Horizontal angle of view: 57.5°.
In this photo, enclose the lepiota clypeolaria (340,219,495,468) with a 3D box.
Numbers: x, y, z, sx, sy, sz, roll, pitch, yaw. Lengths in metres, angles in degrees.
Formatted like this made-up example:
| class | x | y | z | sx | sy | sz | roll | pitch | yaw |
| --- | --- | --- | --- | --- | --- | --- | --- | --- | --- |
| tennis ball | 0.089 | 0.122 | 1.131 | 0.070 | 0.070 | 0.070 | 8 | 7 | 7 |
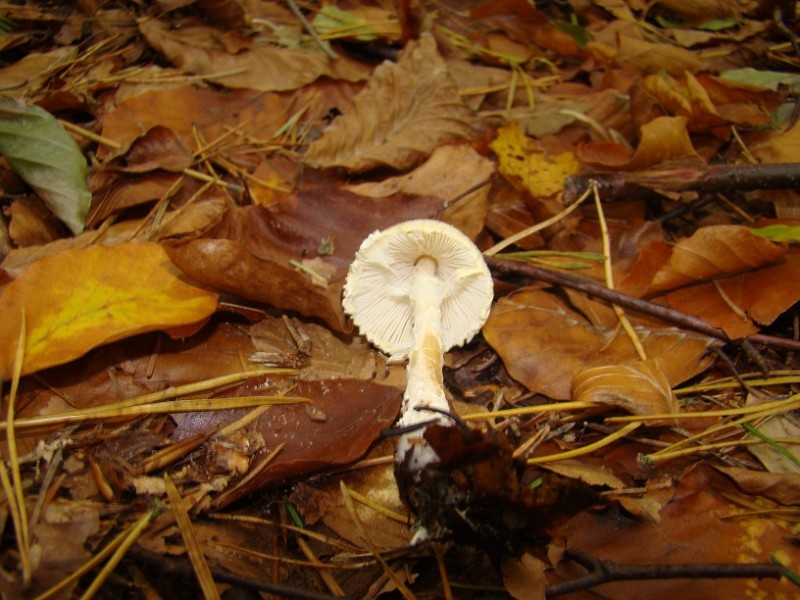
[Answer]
| class | x | y | z | sx | sy | sz | roll | pitch | yaw |
| --- | --- | --- | --- | --- | --- | --- | --- | --- | --- |
| lepiota clypeolaria | 0.089 | 0.247 | 3.858 | 0.756 | 0.733 | 1.070 | 34 | 41 | -15 |
